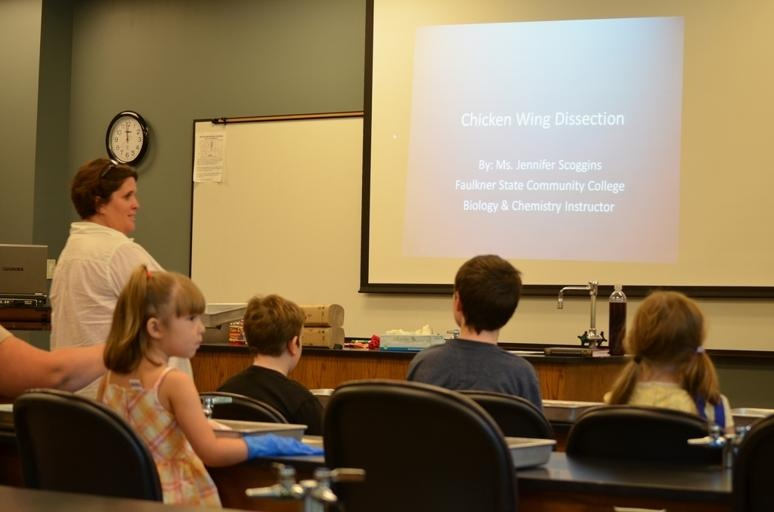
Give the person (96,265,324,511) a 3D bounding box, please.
[{"bbox_3d":[-0.674,0.319,2.290,0.665,1.168,0.678,-3,3,-45],"label":"person"}]
